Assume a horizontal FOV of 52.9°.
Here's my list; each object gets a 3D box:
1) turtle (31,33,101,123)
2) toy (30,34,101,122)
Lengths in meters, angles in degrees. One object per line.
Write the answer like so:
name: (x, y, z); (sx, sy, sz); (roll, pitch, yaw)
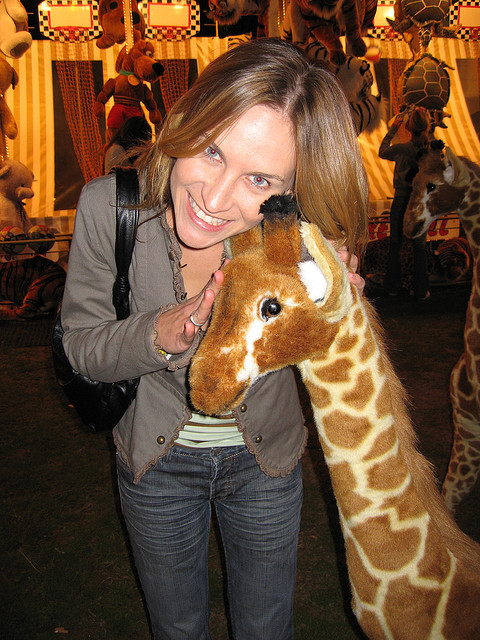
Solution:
turtle: (-3.134, -4.265, 8.491); (1.310, 2.340, 0.443); (2, 10, -10)
toy: (-3.111, -4.343, 8.589); (1.041, 1.707, 0.263); (-3, 15, -10)
